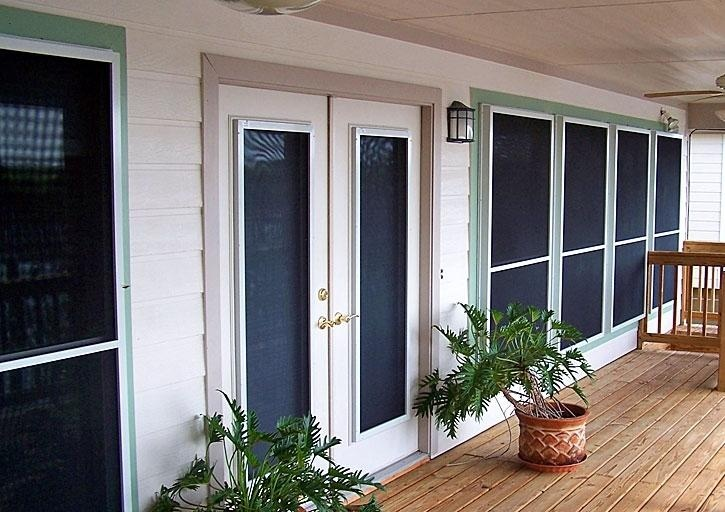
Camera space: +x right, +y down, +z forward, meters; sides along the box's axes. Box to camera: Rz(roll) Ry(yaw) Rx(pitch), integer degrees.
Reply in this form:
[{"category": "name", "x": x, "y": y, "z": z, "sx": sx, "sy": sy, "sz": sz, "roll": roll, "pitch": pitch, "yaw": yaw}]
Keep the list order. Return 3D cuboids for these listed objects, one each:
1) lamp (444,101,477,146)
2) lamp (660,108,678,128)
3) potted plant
[{"category": "lamp", "x": 0.799, "y": -1.071, "z": 4.158, "sx": 0.149, "sy": 0.327, "sz": 0.256, "roll": 4, "pitch": 7, "yaw": 39}, {"category": "lamp", "x": 4.471, "y": -1.982, "z": 7.586, "sx": 0.248, "sy": 0.364, "sz": 0.100, "roll": -10, "pitch": 0, "yaw": -11}, {"category": "potted plant", "x": 1.180, "y": 0.996, "z": 4.407, "sx": 1.563, "sy": 1.237, "sz": 1.169, "roll": -5, "pitch": 2, "yaw": -43}]
